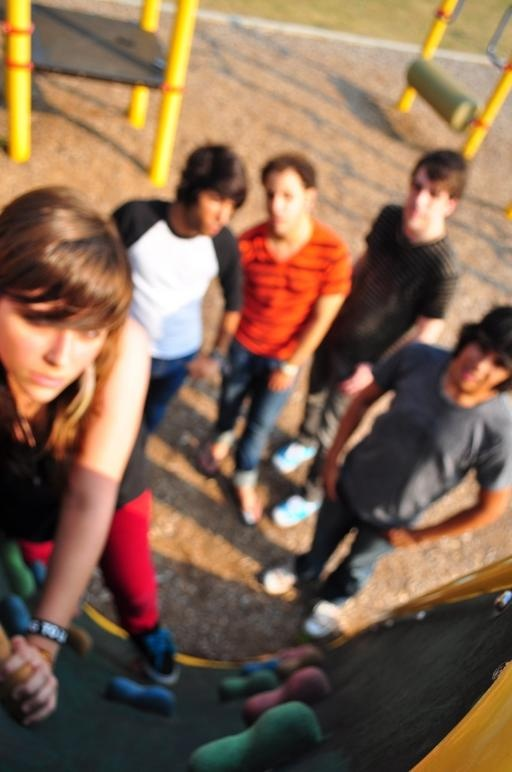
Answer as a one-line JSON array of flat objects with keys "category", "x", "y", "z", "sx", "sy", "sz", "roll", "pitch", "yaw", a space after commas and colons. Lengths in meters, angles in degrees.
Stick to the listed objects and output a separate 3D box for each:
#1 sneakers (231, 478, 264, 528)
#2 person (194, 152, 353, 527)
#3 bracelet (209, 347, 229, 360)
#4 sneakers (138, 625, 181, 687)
[{"category": "sneakers", "x": -0.054, "y": 0.507, "z": 2.849, "sx": 0.114, "sy": 0.089, "sz": 0.213, "roll": -9, "pitch": 86, "yaw": -38}, {"category": "person", "x": -0.026, "y": -0.158, "z": 2.549, "sx": 0.706, "sy": 1.418, "sz": 0.501, "roll": 11, "pitch": 31, "yaw": 5}, {"category": "bracelet", "x": -0.144, "y": -0.127, "z": 2.616, "sx": 0.058, "sy": 0.074, "sz": 0.021, "roll": 11, "pitch": 66, "yaw": 1}, {"category": "sneakers", "x": -0.248, "y": 0.726, "z": 1.751, "sx": 0.055, "sy": 0.109, "sz": 0.140, "roll": -29, "pitch": 100, "yaw": -49}]
